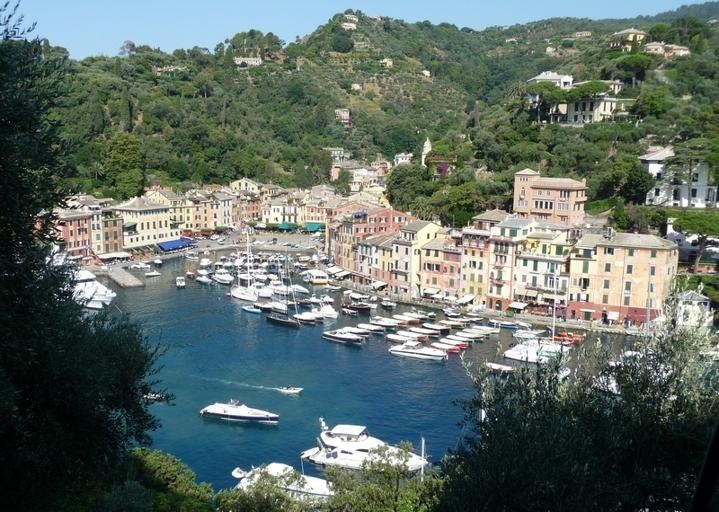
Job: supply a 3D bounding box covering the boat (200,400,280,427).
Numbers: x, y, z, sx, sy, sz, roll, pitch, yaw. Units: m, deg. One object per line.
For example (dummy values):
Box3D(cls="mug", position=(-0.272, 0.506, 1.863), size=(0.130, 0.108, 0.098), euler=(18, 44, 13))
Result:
Box3D(cls="boat", position=(-5.016, 6.677, 36.066), size=(3.209, 0.818, 1.277), euler=(5, 23, 4))
